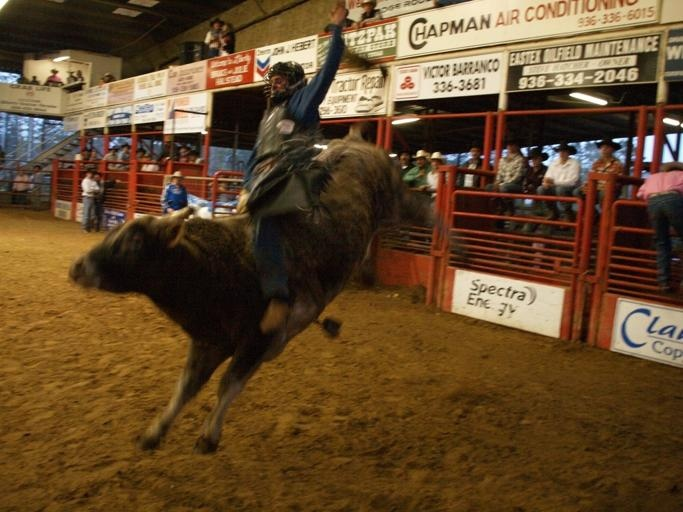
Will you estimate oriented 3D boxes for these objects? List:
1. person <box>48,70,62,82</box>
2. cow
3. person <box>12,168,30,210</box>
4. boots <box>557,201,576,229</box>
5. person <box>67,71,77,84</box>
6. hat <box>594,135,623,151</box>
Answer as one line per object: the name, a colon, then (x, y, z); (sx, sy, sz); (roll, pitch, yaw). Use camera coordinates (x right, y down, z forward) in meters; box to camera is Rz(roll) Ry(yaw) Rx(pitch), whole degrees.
person: (-15.123, -9.530, 26.978); (0.594, 0.714, 0.922); (-3, 13, -26)
cow: (-0.542, 0.289, 3.560); (2.110, 2.212, 0.739); (-8, 18, -41)
person: (-15.190, -3.264, 24.292); (0.833, 1.728, 1.640); (-4, 14, -30)
boots: (3.321, -0.675, 7.561); (0.278, 0.258, 0.662); (8, 12, 21)
person: (-14.050, -9.355, 26.741); (0.473, 0.649, 1.207); (-3, 12, -26)
hat: (4.107, -1.667, 7.891); (0.268, 0.219, 0.537); (8, 12, 21)
